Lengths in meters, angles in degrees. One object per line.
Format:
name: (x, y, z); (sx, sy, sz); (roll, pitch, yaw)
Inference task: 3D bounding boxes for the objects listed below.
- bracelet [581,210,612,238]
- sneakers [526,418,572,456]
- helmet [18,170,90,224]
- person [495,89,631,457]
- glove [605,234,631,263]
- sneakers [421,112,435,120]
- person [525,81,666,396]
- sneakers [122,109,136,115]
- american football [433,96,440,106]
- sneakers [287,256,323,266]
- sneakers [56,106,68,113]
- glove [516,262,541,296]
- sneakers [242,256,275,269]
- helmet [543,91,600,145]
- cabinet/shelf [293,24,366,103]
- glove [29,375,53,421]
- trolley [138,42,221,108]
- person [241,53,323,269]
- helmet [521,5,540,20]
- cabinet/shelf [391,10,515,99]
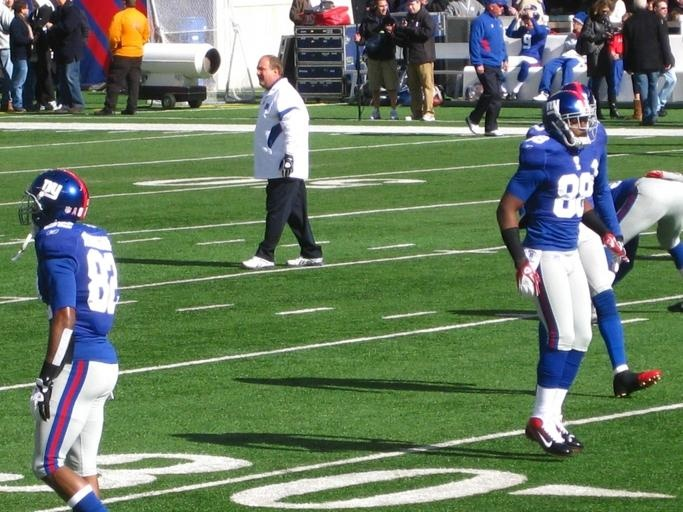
bracelet: (1.716, -0.215, 9.181); (0.191, 0.065, 0.063); (37, 26, -3)
sneakers: (1.286, 1.114, 8.455); (0.286, 0.253, 0.138); (1, 12, 8)
helmet: (-1.614, -0.323, 7.585); (0.383, 0.320, 0.299); (7, 3, 14)
person: (1.286, 0.090, 8.578); (0.573, 2.174, 0.803); (1, 12, 10)
glove: (1.972, -0.055, 9.763); (0.082, 0.202, 0.124); (-9, 19, 48)
sneakers: (1.738, -2.817, 27.514); (0.186, 0.195, 0.455); (-1, 2, 5)
person: (1.751, -0.036, 9.310); (0.795, 2.268, 1.234); (5, -14, -24)
sneakers: (-4.685, -3.176, 30.035); (0.123, 0.147, 0.356); (-5, 11, -37)
american football: (2.168, -3.509, 30.939); (0.171, 0.180, 0.222); (16, 38, 11)
sneakers: (-0.368, 0.035, 13.777); (0.342, 0.142, 0.125); (3, 10, 10)
sneakers: (-6.384, -3.335, 31.031); (0.374, 0.156, 0.140); (6, 6, 45)
glove: (1.157, 0.135, 8.409); (0.140, 0.191, 0.051); (-4, 6, -13)
sneakers: (-0.823, 0.070, 13.632); (0.313, 0.144, 0.123); (4, 14, -18)
helmet: (1.435, -0.885, 8.602); (0.342, 0.335, 0.305); (18, 15, 24)
cabinet/shelf: (-0.485, -4.646, 33.017); (2.125, 2.177, 1.287); (0, 9, 2)
glove: (-1.561, 0.743, 7.126); (0.076, 0.202, 0.151); (6, -11, 2)
trolley: (-3.931, -4.126, 31.482); (2.568, 1.489, 1.140); (9, 5, 39)
person: (-0.587, -0.909, 13.508); (0.712, 2.084, 0.514); (1, 12, 12)
helmet: (4.093, -5.250, 29.470); (0.377, 0.287, 0.597); (0, 12, 6)
cabinet/shelf: (2.280, -4.116, 27.801); (2.335, 2.163, 1.785); (5, 27, 16)
